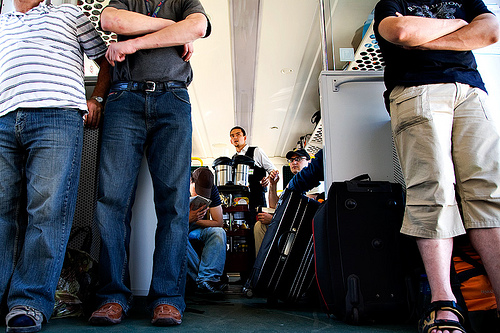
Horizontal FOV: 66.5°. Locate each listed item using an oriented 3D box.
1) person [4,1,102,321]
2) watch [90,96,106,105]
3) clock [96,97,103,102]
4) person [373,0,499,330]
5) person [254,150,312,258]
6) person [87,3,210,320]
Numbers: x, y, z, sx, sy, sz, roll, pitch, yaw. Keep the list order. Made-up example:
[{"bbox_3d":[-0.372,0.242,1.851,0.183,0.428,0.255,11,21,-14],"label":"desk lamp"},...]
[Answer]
[{"bbox_3d":[-1.055,-0.056,1.877,0.400,1.587,0.308,1,-6,14],"label":"person"},{"bbox_3d":[-0.833,-0.365,2.113,0.053,0.032,0.055,4,11,23],"label":"watch"},{"bbox_3d":[-0.829,-0.373,2.111,0.030,0.027,0.007,2,-2,-20],"label":"clock"},{"bbox_3d":[0.854,-0.083,1.750,0.558,1.557,0.325,1,-6,15],"label":"person"},{"bbox_3d":[0.330,0.278,4.283,0.227,0.866,0.942,18,8,22],"label":"person"},{"bbox_3d":[-0.571,-0.060,2.029,0.525,1.650,0.679,6,-6,-29],"label":"person"}]
